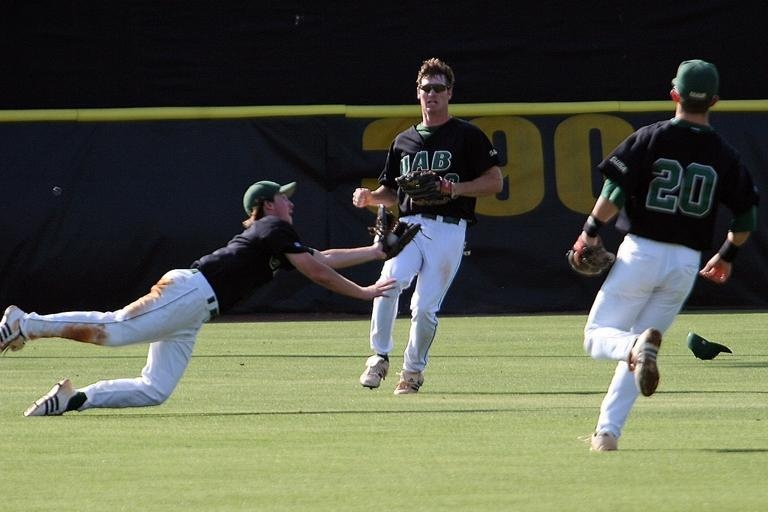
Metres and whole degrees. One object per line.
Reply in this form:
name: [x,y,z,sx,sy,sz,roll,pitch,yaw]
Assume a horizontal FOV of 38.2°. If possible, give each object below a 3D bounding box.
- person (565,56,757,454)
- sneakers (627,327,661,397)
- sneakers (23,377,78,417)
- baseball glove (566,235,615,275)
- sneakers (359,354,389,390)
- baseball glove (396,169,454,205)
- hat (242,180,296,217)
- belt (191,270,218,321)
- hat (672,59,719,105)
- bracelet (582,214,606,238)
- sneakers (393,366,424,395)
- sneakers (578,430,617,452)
person: [1.974,-0.045,8.026,0.964,2.714,1.375,6,11,33]
sneakers: [1.778,0.735,7.596,0.205,0.482,0.228,2,10,11]
sneakers: [-2.588,1.111,8.588,0.139,0.316,0.102,45,8,-39]
baseball glove: [1.741,-0.015,9.264,0.393,0.436,0.179,0,18,8]
sneakers: [-0.082,1.017,9.535,0.207,0.128,0.302,11,38,18]
baseball glove: [0.343,-0.577,9.339,0.454,0.282,0.180,0,9,0]
hat: [-0.896,-0.511,8.871,0.483,0.222,0.290,-24,8,-6]
belt: [-1.381,0.318,8.407,0.237,0.417,0.185,-1,9,-8]
hat: [2.247,-1.263,8.020,0.277,0.189,0.349,6,26,10]
bracelet: [1.571,-0.213,8.142,0.168,0.173,0.194,-3,6,-16]
sneakers: [0.201,1.076,9.320,0.119,0.134,0.334,-2,-5,22]
sneakers: [1.514,1.311,7.806,0.201,0.078,0.136,-1,2,5]
